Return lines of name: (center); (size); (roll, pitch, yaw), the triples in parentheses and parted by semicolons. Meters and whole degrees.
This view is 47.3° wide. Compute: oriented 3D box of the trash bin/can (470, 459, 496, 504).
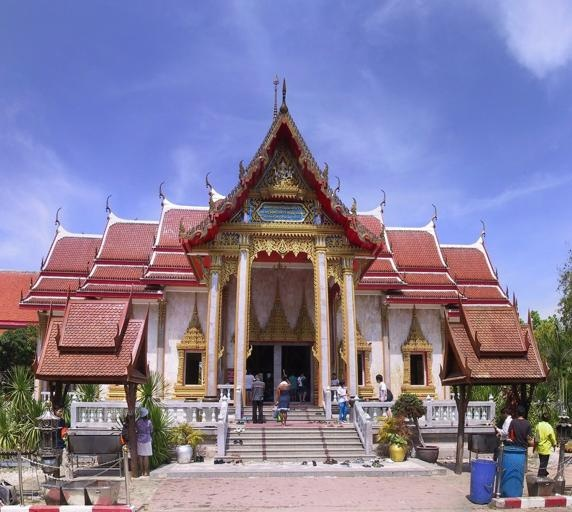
trash bin/can: (3.378, 3.899, 11.296); (0.492, 0.854, 0.565); (0, -21, 29)

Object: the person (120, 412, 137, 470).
person: (-3.212, 3.839, 13.451); (0.398, 1.291, 1.810); (4, -20, -14)

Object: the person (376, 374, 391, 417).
person: (2.651, 3.889, 17.998); (0.355, 1.324, 0.462); (-2, -59, 8)

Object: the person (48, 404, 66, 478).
person: (-4.393, 3.570, 12.606); (0.289, 1.388, 1.887); (6, -20, -18)

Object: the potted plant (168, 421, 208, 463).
potted plant: (-2.241, 4.322, 15.049); (0.511, 0.902, 0.944); (-10, -21, 30)

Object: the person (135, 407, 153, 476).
person: (-2.931, 3.841, 13.460); (0.349, 1.338, 0.447); (5, -17, -14)

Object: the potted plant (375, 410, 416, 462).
potted plant: (2.579, 4.299, 15.632); (0.886, 1.221, 1.096); (-8, -20, 24)
